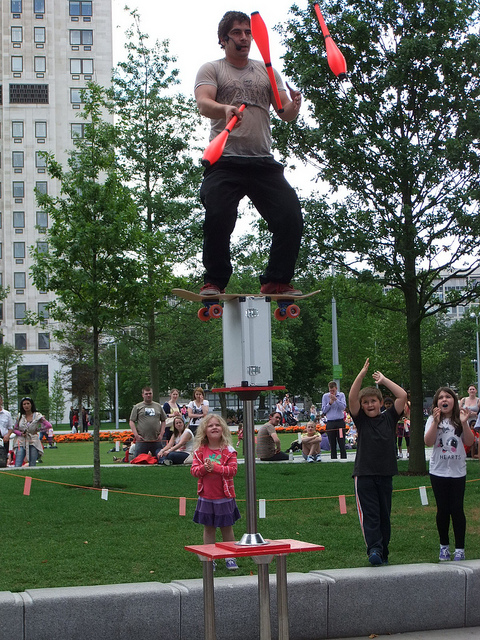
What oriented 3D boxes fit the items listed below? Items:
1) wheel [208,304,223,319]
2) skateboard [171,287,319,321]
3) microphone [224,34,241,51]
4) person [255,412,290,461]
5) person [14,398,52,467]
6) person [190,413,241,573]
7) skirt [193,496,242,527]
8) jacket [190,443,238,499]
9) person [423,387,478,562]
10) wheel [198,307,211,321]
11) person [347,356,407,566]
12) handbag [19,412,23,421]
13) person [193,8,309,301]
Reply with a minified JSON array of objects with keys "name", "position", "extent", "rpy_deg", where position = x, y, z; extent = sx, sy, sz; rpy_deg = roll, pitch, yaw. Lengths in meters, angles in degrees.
[{"name":"wheel","position":[-0.149,-0.062,5.968],"extent":[0.086,0.079,0.031],"rpy_deg":[-5,0,-23]},{"name":"skateboard","position":[0.186,-0.125,6.045],"extent":[1.226,0.217,0.309],"rpy_deg":[0,0,-20]},{"name":"microphone","position":[-0.054,-1.807,6.138],"extent":[0.075,0.042,0.114],"rpy_deg":[-10,-50,38]},{"name":"person","position":[0.624,2.331,19.016],"extent":[0.611,0.990,1.395],"rpy_deg":[-3,-5,1]},{"name":"person","position":[-3.945,2.268,17.876],"extent":[0.812,1.533,0.468],"rpy_deg":[1,1,-11]},{"name":"person","position":[-0.222,1.407,8.464],"extent":[0.409,1.136,0.429],"rpy_deg":[-3,-5,-3]},{"name":"skirt","position":[-0.178,1.659,8.452],"extent":[0.463,0.387,0.262],"rpy_deg":[-1,-3,19]},{"name":"jacket","position":[-0.237,1.337,8.476],"extent":[0.426,0.478,0.313],"rpy_deg":[0,-6,3]},{"name":"person","position":[1.976,1.427,8.977],"extent":[0.399,1.578,0.561],"rpy_deg":[-5,-6,27]},{"name":"wheel","position":[-0.234,-0.036,6.032],"extent":[0.080,0.079,0.026],"rpy_deg":[-39,13,-18]},{"name":"person","position":[1.302,1.253,8.772],"extent":[0.544,1.876,1.478],"rpy_deg":[-3,-5,7]},{"name":"handbag","position":[-3.993,1.754,17.339],"extent":[0.061,0.136,0.172],"rpy_deg":[-1,-5,-16]},{"name":"person","position":[0.070,-1.035,6.285],"extent":[0.689,1.865,1.199],"rpy_deg":[-3,-5,-2]}]
